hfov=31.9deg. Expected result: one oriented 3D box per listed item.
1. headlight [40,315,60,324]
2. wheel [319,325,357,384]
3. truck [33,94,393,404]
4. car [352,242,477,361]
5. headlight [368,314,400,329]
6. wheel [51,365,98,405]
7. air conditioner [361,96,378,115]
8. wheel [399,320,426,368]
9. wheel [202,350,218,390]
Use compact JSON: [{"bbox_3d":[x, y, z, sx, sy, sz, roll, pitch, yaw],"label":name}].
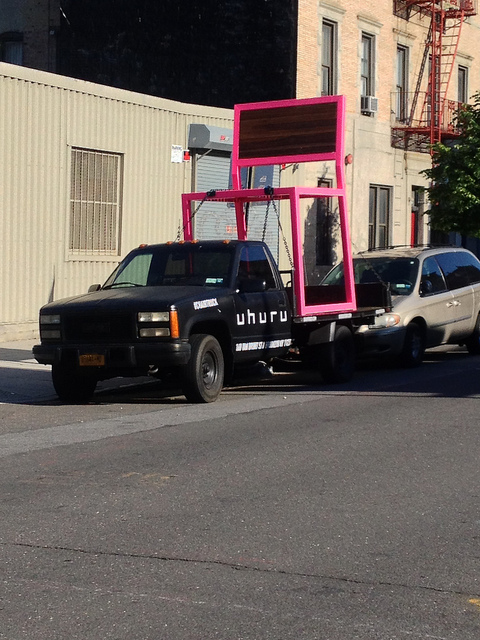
[{"bbox_3d":[-2.138,-0.019,9.495,0.284,0.112,0.034,5,7,38],"label":"headlight"},{"bbox_3d":[1.327,0.451,11.492,0.223,0.768,0.702,-3,-7,25],"label":"wheel"},{"bbox_3d":[-0.076,-1.184,11.395,2.074,4.278,5.459,0,2,35],"label":"truck"},{"bbox_3d":[2.597,-0.394,13.880,1.521,1.536,2.832,-1,2,30],"label":"car"},{"bbox_3d":[2.213,0.004,12.761,0.561,0.203,0.125,-5,7,-34],"label":"headlight"},{"bbox_3d":[-1.946,0.754,9.905,0.158,0.513,0.471,1,4,27],"label":"wheel"},{"bbox_3d":[4.238,-7.062,27.265,0.379,0.601,0.632,4,8,40],"label":"air conditioner"},{"bbox_3d":[2.722,0.342,13.313,0.190,0.607,0.562,4,-17,25],"label":"wheel"},{"bbox_3d":[-0.336,0.552,9.576,0.121,0.483,0.340,2,6,19],"label":"wheel"}]
